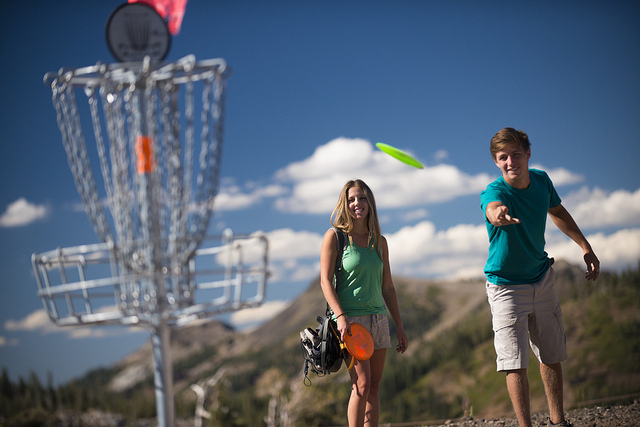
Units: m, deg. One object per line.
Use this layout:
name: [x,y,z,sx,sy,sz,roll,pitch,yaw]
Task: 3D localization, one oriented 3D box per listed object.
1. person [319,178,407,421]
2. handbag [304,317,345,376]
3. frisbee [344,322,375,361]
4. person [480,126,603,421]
person: [0.516,1.094,10.448,1.002,3.010,0.576,-5,-12,-11]
handbag: [-0.049,1.700,10.400,0.412,0.681,0.648,5,24,15]
frisbee: [0.488,1.592,10.216,0.402,0.467,0.103,-2,-13,-26]
person: [2.734,0.753,10.453,1.238,3.694,1.019,-6,-12,-7]
